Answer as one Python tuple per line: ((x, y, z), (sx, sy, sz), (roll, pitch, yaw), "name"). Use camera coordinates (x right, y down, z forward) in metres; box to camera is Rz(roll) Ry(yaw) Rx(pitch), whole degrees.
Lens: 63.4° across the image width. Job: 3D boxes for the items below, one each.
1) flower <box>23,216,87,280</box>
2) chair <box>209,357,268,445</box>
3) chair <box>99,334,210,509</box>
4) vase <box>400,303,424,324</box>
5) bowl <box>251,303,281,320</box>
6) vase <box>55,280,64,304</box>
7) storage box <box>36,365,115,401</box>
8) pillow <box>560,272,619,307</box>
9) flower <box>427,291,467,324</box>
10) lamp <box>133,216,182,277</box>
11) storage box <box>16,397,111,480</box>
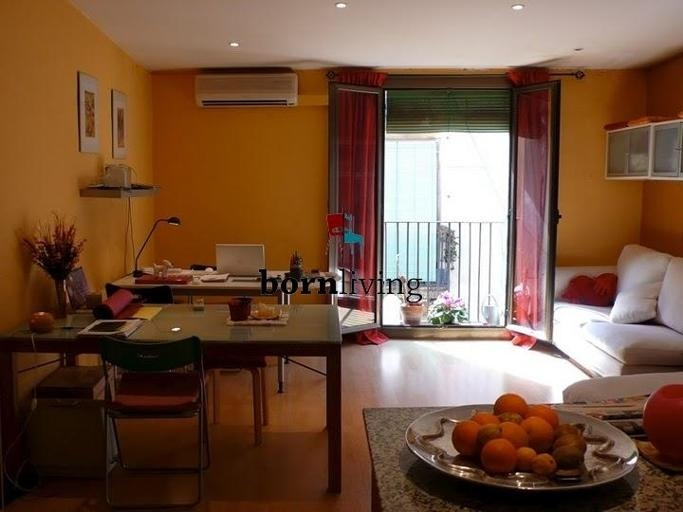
((-1.900, -0.067, 3.734), (0.319, 0.379, 0.533), (0, 9, -8), "flower")
((-0.635, 0.806, 3.531), (0.404, 0.718, 0.423), (0, 2, -7), "chair")
((-1.021, 0.789, 3.079), (0.587, 1.010, 0.561), (3, 10, -9), "chair")
((0.784, 0.632, 6.135), (0.215, 0.169, 0.217), (1, -3, -12), "vase")
((-0.434, 0.342, 3.370), (0.120, 0.055, 0.128), (2, 5, 0), "bowl")
((-1.795, 0.227, 3.524), (0.053, 0.162, 0.113), (-3, 9, -28), "vase")
((-1.609, 0.743, 3.384), (0.297, 0.152, 0.371), (4, 8, 1), "storage box")
((2.432, 0.325, 5.386), (0.353, 0.363, 0.127), (4, -32, 36), "pillow")
((1.210, 0.570, 6.313), (0.352, 0.260, 0.359), (0, -2, -3), "flower")
((-1.843, -0.146, 5.369), (0.241, 0.671, 0.460), (10, 11, 32), "lamp")
((-1.618, 1.025, 3.350), (0.436, 0.392, 0.539), (0, 11, -19), "storage box")
